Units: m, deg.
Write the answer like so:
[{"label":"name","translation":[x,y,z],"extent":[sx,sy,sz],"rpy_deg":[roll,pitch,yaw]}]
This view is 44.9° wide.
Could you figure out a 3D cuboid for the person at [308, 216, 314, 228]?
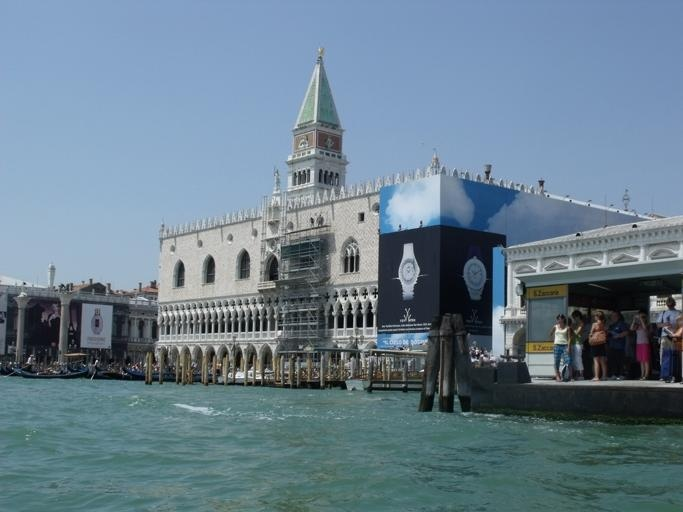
[{"label":"person","translation":[-2.278,-2.606,63.855],"extent":[0.274,0.791,0.734],"rpy_deg":[2,-6,-30]}]

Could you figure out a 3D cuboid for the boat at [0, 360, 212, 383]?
[{"label":"boat","translation":[-20.182,8.917,62.588],"extent":[17.771,0.953,4.736],"rpy_deg":[-4,-6,32]}]

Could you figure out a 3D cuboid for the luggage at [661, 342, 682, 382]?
[{"label":"luggage","translation":[7.938,2.550,19.829],"extent":[0.434,0.946,0.459],"rpy_deg":[-2,-5,17]}]

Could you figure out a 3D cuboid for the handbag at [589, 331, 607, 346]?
[{"label":"handbag","translation":[6.635,2.129,21.259],"extent":[0.163,0.294,0.293],"rpy_deg":[20,-28,-32]}]
